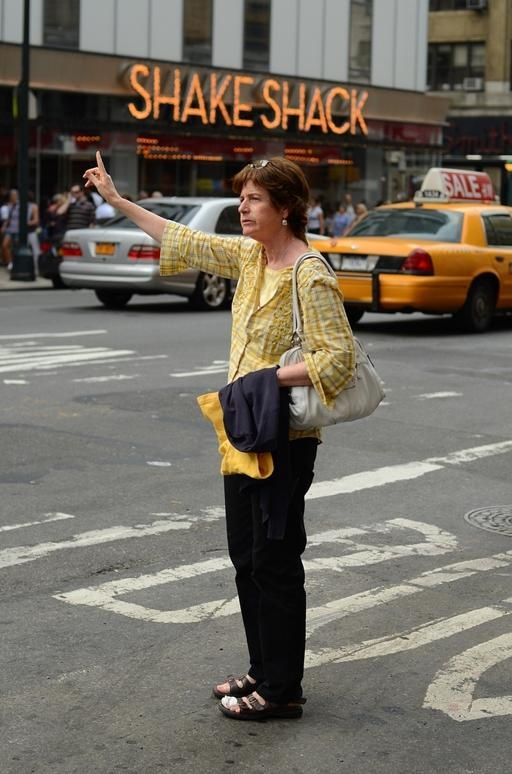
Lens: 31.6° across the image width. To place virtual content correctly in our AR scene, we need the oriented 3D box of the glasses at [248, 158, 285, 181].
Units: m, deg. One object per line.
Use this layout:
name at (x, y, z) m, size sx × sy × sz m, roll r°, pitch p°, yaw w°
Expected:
glasses at (0.029, -0.588, 2.500) m, size 0.070 × 0.034 × 0.089 m, roll -10°, pitch 11°, yaw 6°

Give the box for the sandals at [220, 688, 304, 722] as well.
sandals at (0.016, 0.889, 2.523) m, size 0.164 × 0.061 × 0.095 m, roll 4°, pitch -2°, yaw -5°

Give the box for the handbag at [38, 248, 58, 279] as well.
handbag at (-4.496, -2.634, 19.488) m, size 0.242 × 0.660 × 0.503 m, roll -1°, pitch 3°, yaw -41°

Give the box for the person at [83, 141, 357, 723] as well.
person at (-0.027, 0.130, 2.602) m, size 0.365 × 1.558 × 0.774 m, roll -3°, pitch 8°, yaw -43°

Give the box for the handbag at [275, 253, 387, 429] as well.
handbag at (0.214, -0.113, 2.434) m, size 0.240 × 0.491 × 0.315 m, roll 7°, pitch 7°, yaw 37°

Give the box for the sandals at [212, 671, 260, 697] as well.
sandals at (-0.052, 0.871, 2.628) m, size 0.142 × 0.049 × 0.054 m, roll -9°, pitch 24°, yaw -7°
